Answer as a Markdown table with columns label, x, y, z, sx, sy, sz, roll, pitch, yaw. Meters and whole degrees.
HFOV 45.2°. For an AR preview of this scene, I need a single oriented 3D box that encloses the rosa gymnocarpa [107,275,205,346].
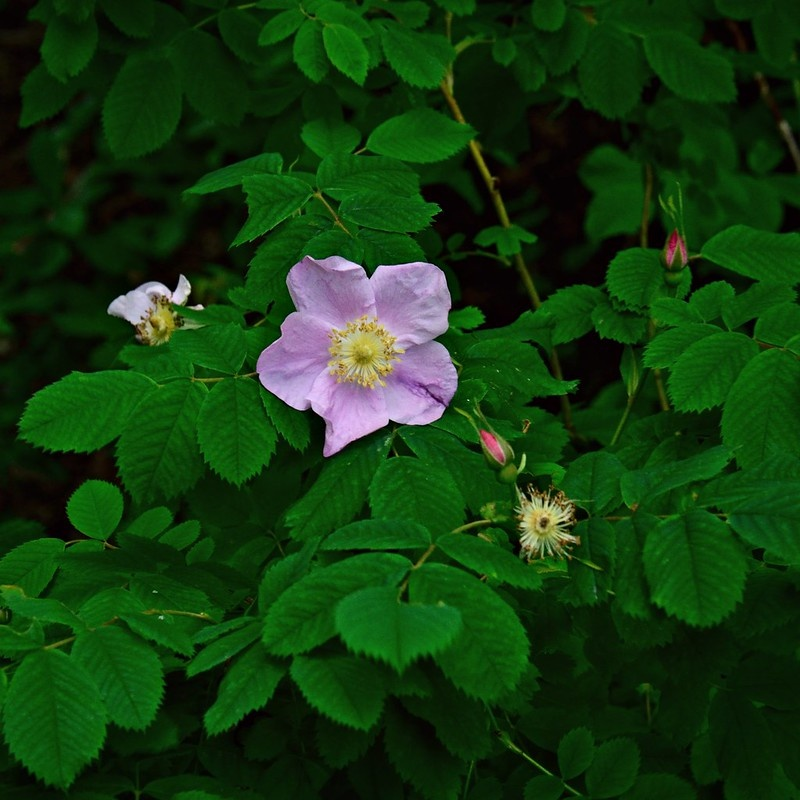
| label | x | y | z | sx | sy | sz | roll | pitch | yaw |
| --- | --- | --- | --- | --- | --- | --- | --- | --- | --- |
| rosa gymnocarpa | -0.524 | -0.202 | 2.108 | 0.177 | 0.132 | 0.164 | -35 | 86 | -7 |
